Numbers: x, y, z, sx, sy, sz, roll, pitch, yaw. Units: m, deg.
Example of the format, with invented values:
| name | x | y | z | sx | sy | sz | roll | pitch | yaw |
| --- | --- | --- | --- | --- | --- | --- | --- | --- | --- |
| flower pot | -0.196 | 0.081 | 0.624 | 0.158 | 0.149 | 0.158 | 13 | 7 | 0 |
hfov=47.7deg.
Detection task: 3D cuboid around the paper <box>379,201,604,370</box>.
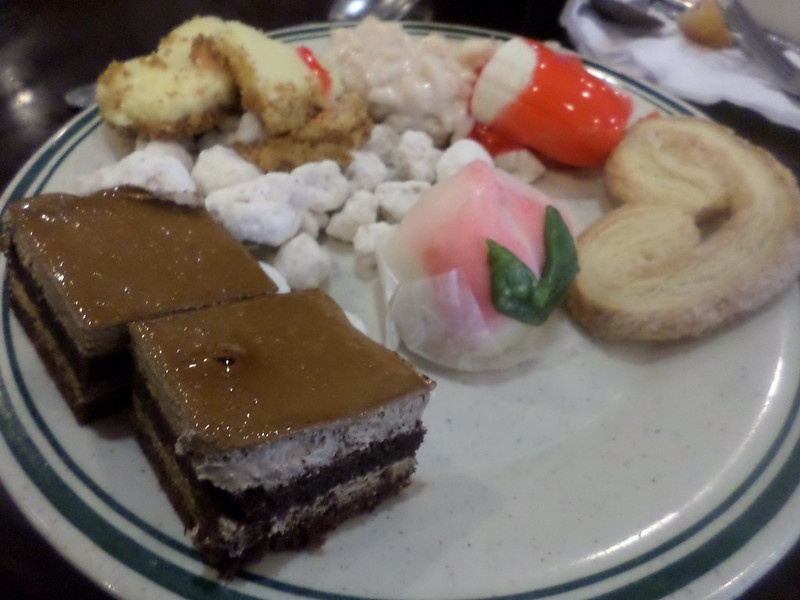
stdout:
| name | x | y | z | sx | sy | sz | roll | pitch | yaw |
| --- | --- | --- | --- | --- | --- | --- | --- | --- | --- |
| paper | 0.175 | -0.034 | 2.118 | 0.335 | 0.200 | 0.285 | -6 | 20 | -26 |
